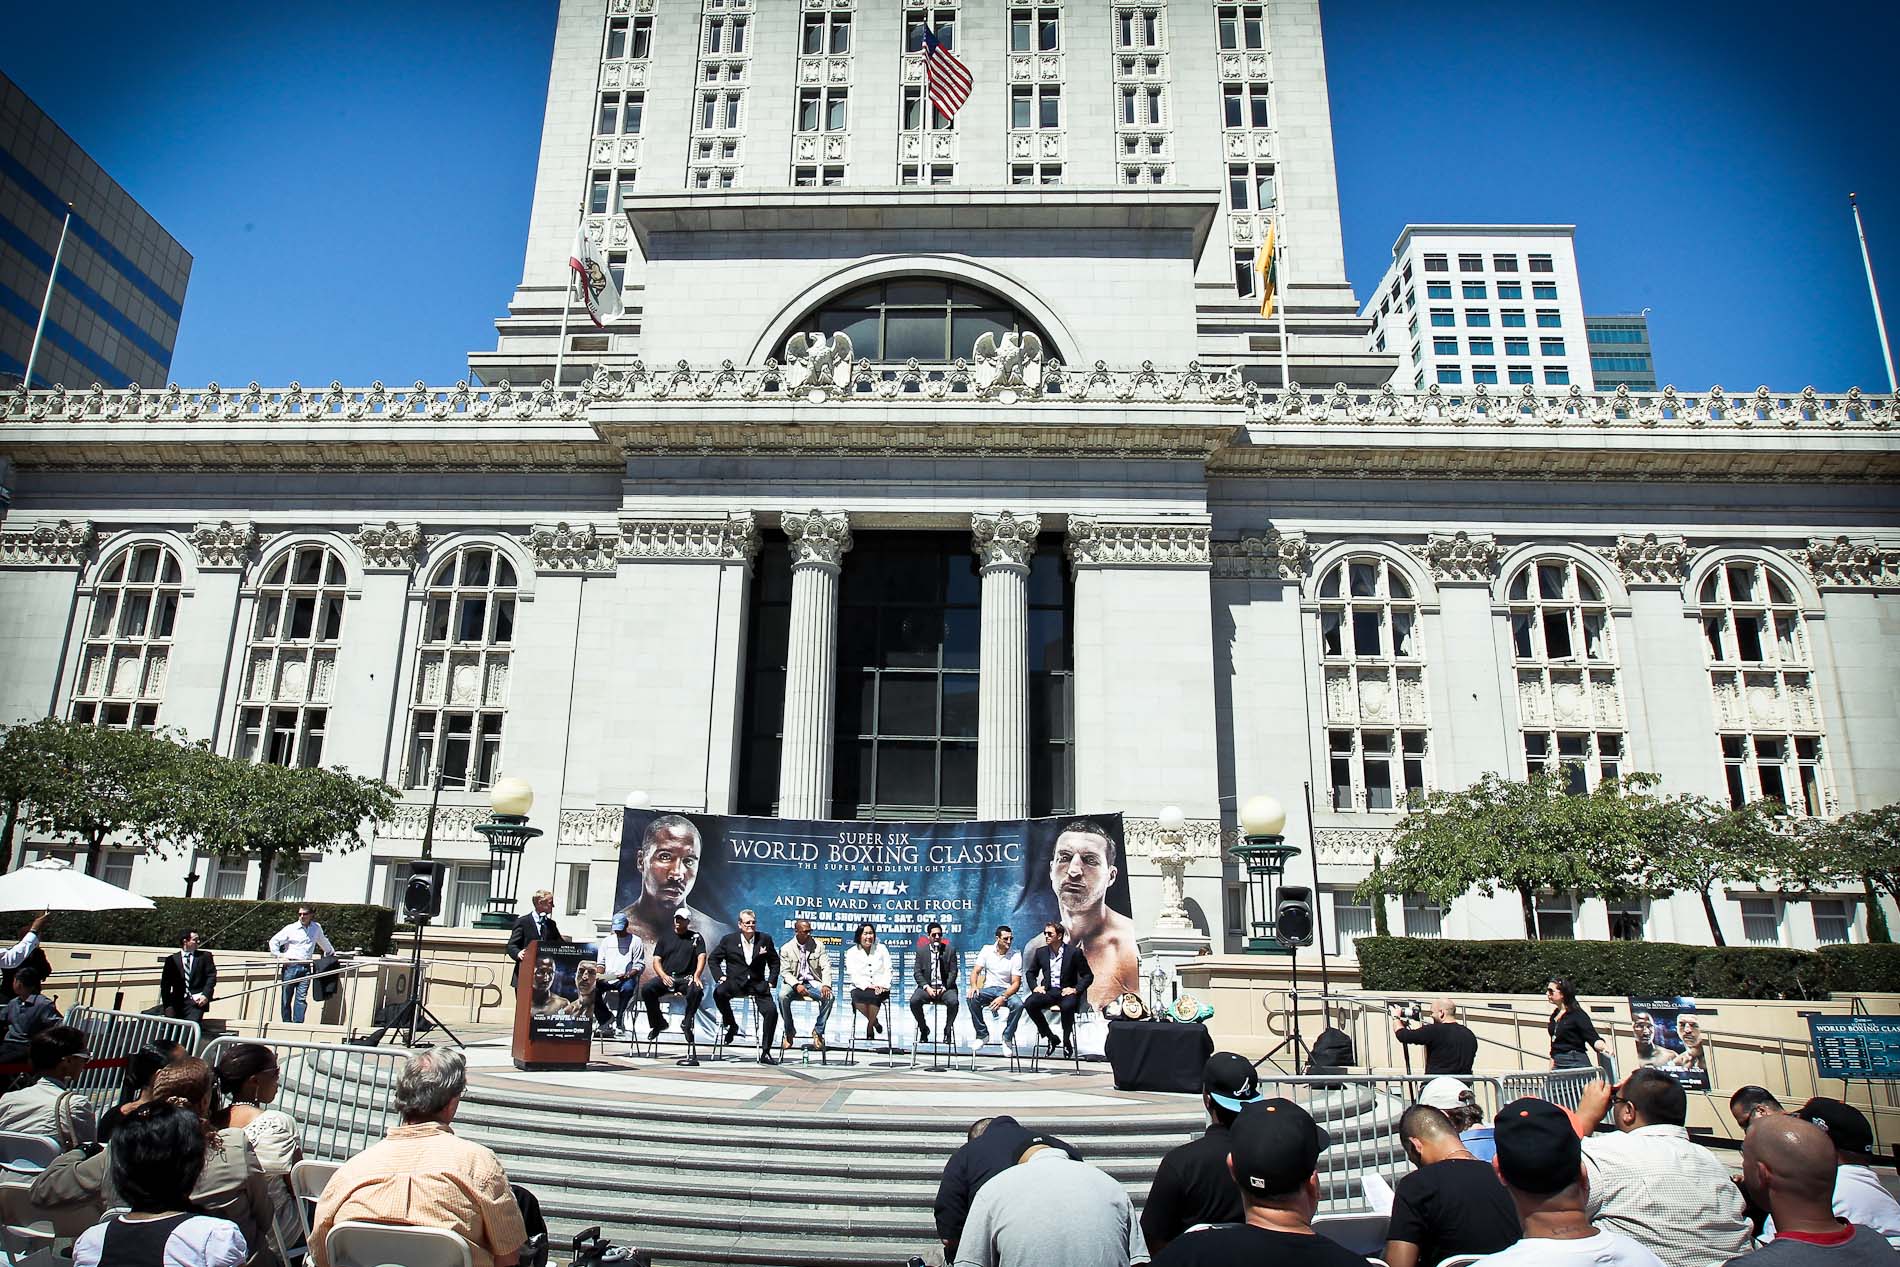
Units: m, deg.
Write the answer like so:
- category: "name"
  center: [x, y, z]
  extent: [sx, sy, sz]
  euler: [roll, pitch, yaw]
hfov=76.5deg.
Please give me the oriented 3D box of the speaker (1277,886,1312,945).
- category: "speaker"
  center: [7.757, 6.390, 27.014]
  extent: [0.578, 1.278, 1.343]
  euler: [-4, -14, 20]

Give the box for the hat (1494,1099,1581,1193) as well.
- category: "hat"
  center: [4.660, 4.021, 9.550]
  extent: [0.526, 0.426, 0.736]
  euler: [-12, 18, 21]
